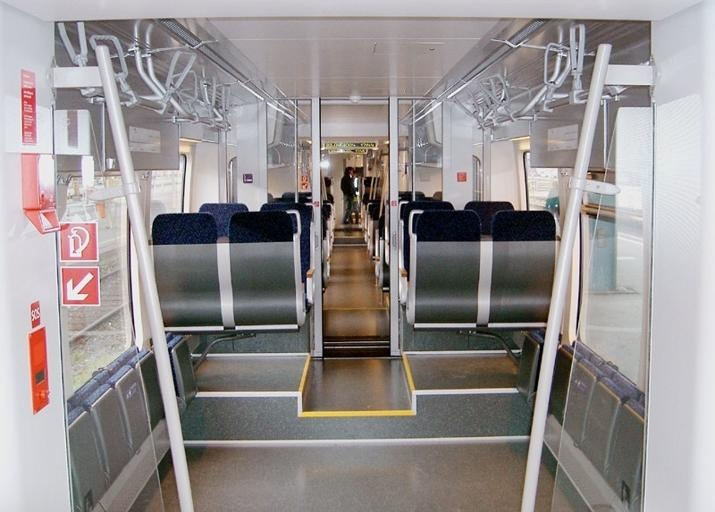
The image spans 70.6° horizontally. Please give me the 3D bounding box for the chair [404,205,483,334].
[{"bbox_3d":[0.724,0.132,4.126,0.667,1.015,0.877,0,7,6],"label":"chair"}]

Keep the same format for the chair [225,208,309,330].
[{"bbox_3d":[-0.694,0.178,4.552,0.804,1.082,1.032,-2,5,5],"label":"chair"}]
